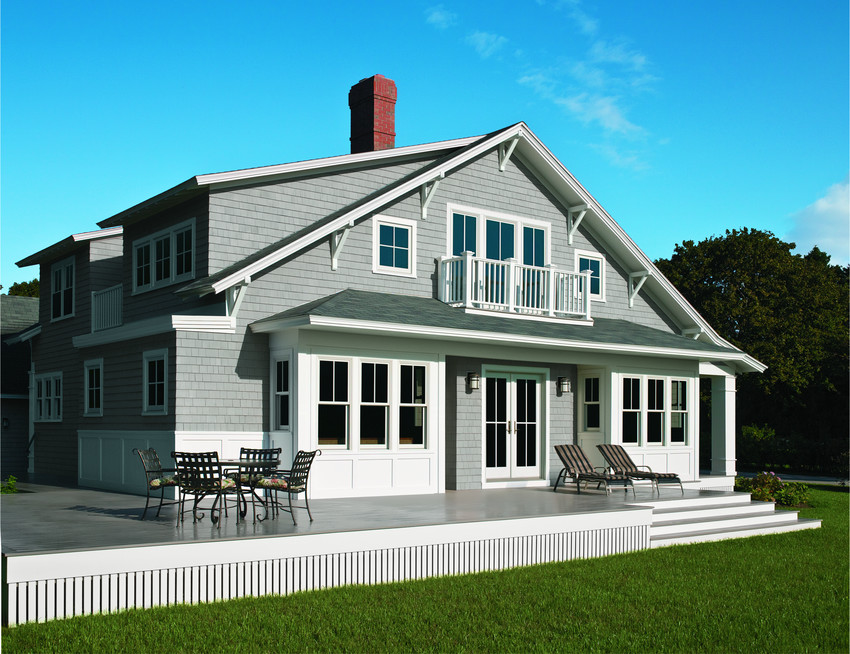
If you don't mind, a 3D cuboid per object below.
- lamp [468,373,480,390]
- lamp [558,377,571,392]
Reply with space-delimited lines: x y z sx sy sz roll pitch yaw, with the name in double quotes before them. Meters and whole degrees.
"lamp" 1.179 1.299 22.266 0.344 0.400 0.110 -1 8 -43
"lamp" 3.561 1.473 23.805 0.373 0.634 0.362 0 -3 8
